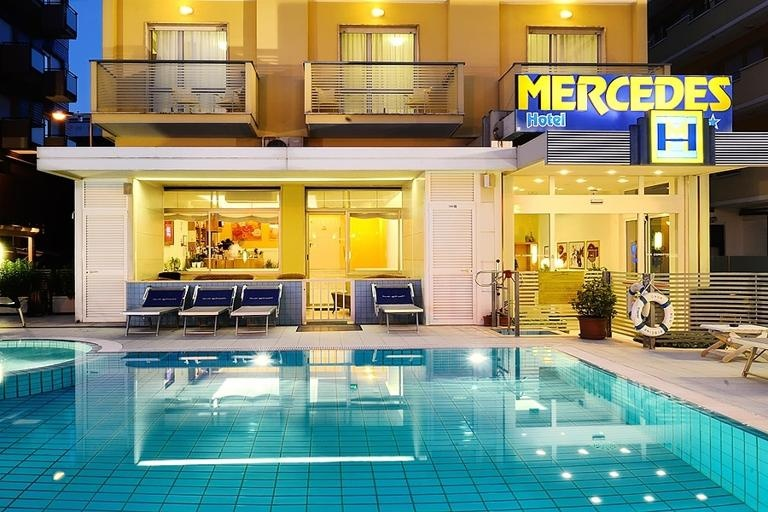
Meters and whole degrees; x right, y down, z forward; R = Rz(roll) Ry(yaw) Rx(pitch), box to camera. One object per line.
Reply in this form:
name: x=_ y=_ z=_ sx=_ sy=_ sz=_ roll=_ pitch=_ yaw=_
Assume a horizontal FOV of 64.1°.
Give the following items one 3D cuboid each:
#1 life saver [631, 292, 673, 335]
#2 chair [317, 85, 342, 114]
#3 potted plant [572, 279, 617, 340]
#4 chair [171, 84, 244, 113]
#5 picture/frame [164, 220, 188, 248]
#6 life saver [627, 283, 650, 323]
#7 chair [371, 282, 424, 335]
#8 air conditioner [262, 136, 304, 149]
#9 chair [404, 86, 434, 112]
life saver: x=5.337 y=1.188 z=12.231 sx=0.754 sy=0.977 sz=0.672 roll=5 pitch=15 yaw=21
chair: x=-1.469 y=-4.165 z=16.349 sx=0.682 sy=0.673 sz=0.460 roll=-1 pitch=14 yaw=-3
potted plant: x=4.583 y=1.160 z=13.328 sx=0.898 sy=1.265 sz=0.558 roll=2 pitch=14 yaw=9
chair: x=-4.685 y=-4.136 z=16.285 sx=2.020 sy=0.606 sz=0.294 roll=0 pitch=14 yaw=2
picture/frame: x=-5.767 y=-0.635 z=16.966 sx=0.903 sy=0.763 sz=0.062 roll=1 pitch=0 yaw=-7
life saver: x=5.016 y=0.961 z=12.402 sx=0.196 sy=0.684 sz=0.766 roll=30 pitch=-30 yaw=-23
chair: x=0.258 y=1.173 z=14.474 sx=1.152 sy=0.891 sz=1.530 roll=0 pitch=5 yaw=-4
air conditioner: x=-2.672 y=-3.079 z=16.420 sx=0.866 sy=0.226 sz=0.973 roll=-11 pitch=17 yaw=-41
chair: x=0.941 y=-4.215 z=16.461 sx=0.771 sy=0.703 sz=0.579 roll=0 pitch=-1 yaw=-1
